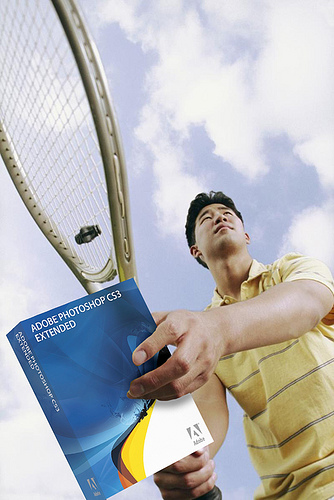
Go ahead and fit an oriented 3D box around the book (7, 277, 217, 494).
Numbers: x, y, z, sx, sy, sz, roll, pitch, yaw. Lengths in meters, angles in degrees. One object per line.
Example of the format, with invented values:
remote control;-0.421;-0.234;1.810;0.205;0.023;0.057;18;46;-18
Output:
book;-0.103;0.224;0.704;0.272;0.306;0.146;-19;-30;-7
